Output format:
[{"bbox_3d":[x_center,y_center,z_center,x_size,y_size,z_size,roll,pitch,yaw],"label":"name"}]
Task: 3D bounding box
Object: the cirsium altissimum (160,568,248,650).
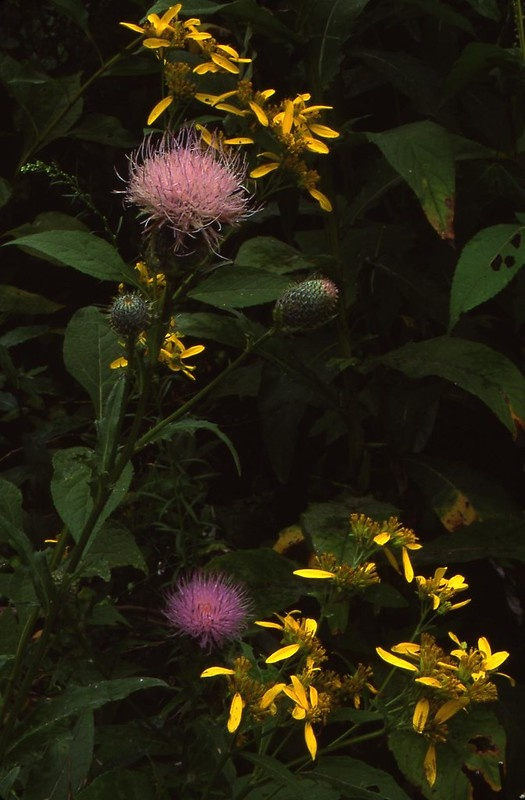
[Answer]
[{"bbox_3d":[-0.086,0.351,1.371,0.136,0.078,0.133,-31,54,-30],"label":"cirsium altissimum"}]
